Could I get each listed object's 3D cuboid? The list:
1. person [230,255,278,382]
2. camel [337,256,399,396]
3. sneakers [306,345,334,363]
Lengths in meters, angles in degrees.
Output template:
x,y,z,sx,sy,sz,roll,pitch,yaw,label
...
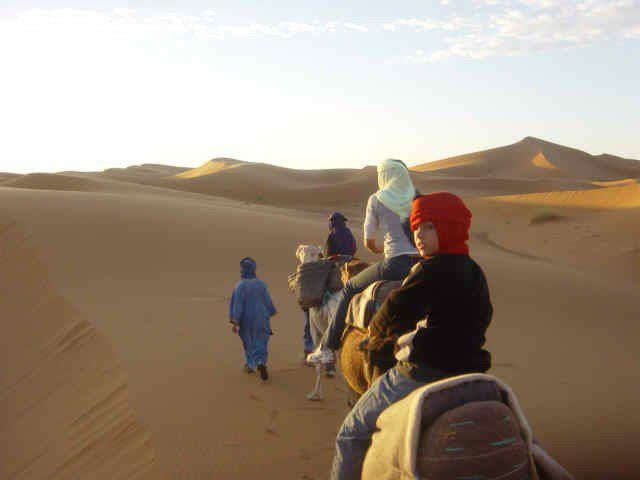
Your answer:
x,y,z,sx,sy,sz,roll,pitch,yaw,label
-1.313,1.615,12.930,0.850,2.140,1.532,-1,19,-4,person
0.702,0.962,9.111,0.601,1.591,2.073,-7,20,9,camel
0.009,1.653,9.616,0.385,0.251,0.260,-2,-5,12,sneakers
